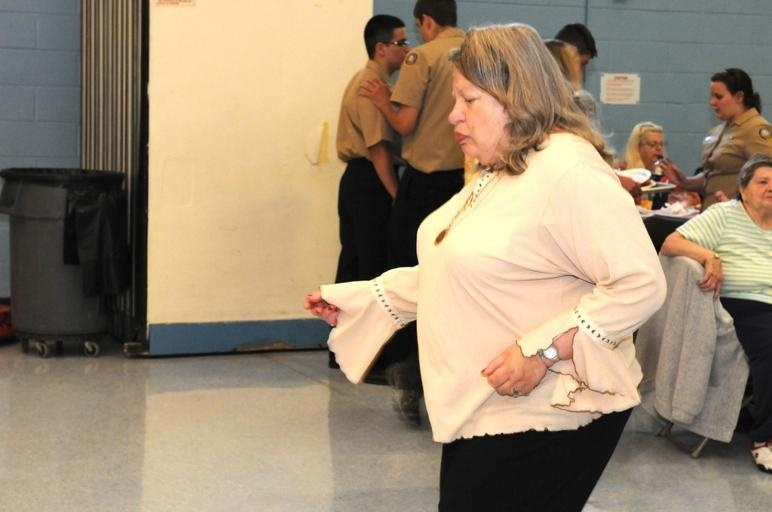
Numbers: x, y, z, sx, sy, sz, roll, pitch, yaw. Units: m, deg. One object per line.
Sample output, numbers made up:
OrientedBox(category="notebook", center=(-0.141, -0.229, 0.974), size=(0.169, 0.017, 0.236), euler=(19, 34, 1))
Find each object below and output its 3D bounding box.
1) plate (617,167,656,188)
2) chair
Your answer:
OrientedBox(category="plate", center=(1.758, -0.555, 7.592), size=(0.260, 0.063, 0.260), euler=(-9, 19, -23))
OrientedBox(category="chair", center=(1.873, 0.543, 6.457), size=(0.555, 1.013, 0.416), euler=(7, 15, 25))
